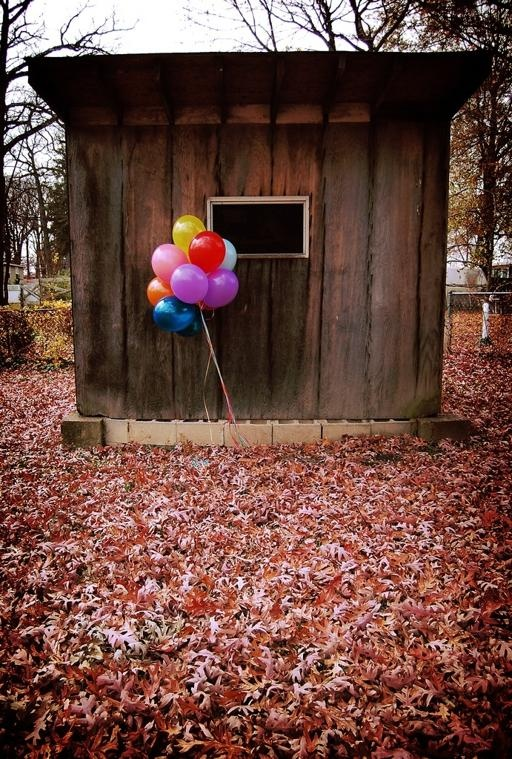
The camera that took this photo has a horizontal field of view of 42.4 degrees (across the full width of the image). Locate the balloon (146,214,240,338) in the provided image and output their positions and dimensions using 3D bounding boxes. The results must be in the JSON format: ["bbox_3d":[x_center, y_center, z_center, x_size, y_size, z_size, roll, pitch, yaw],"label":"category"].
[{"bbox_3d":[-0.425,-0.723,4.600,0.597,0.832,0.513,-2,6,-21],"label":"balloon"}]
